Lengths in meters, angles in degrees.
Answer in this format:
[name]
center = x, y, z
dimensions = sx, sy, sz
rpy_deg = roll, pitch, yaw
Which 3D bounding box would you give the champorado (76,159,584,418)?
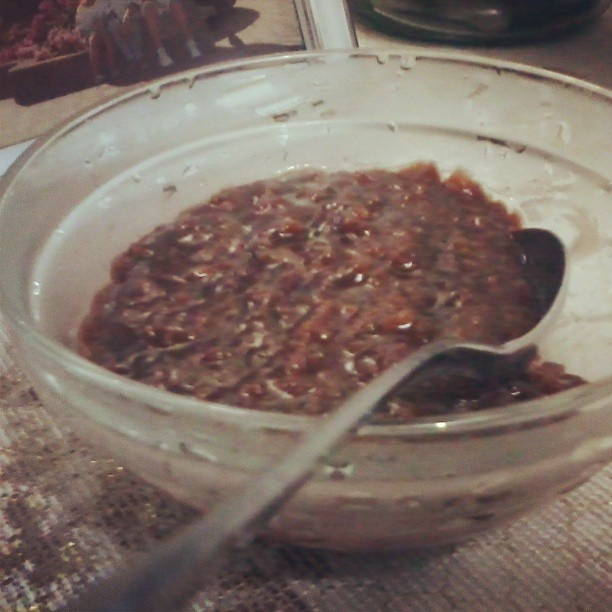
[champorado]
center = 0.012, 0.020, 0.685
dimensions = 0.437, 0.377, 0.038
rpy_deg = -9, 58, -6
